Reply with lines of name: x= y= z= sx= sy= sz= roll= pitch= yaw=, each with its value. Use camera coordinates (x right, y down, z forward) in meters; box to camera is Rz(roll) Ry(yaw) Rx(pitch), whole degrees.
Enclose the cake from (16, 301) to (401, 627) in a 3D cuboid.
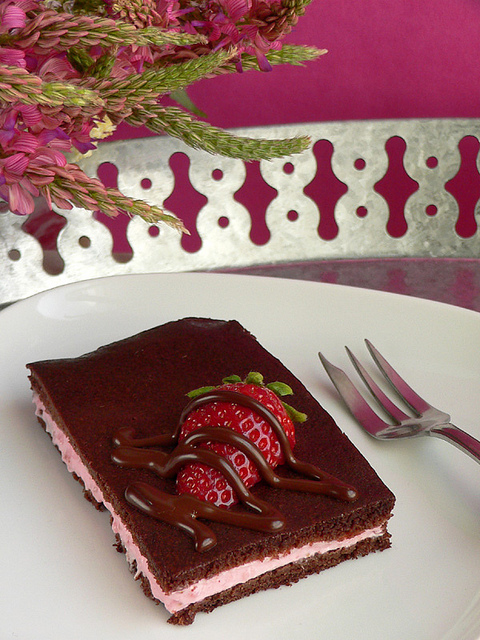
cake: x=-0.058 y=0.218 z=1.186 sx=0.522 sy=0.398 sz=0.615 roll=-3 pitch=6 yaw=-34
